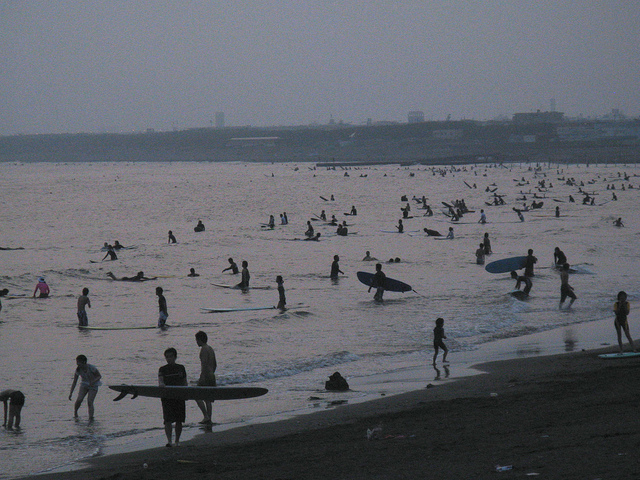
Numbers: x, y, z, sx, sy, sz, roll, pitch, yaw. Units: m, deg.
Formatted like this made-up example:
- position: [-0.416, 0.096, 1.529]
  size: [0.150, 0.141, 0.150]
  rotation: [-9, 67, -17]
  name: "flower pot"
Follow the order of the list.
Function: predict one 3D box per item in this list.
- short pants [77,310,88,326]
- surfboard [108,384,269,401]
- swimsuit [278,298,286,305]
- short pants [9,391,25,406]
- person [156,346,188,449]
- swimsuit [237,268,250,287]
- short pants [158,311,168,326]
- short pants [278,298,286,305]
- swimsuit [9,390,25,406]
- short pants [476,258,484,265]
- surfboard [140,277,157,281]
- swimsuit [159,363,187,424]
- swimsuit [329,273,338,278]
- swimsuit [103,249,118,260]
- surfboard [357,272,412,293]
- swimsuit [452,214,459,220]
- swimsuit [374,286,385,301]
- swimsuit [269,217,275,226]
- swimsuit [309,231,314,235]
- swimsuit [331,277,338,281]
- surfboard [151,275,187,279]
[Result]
- position: [-10.400, 3.410, 62.277]
  size: [0.415, 0.689, 0.366]
  rotation: [-3, -3, -11]
  name: "short pants"
- position: [-4.865, 5.647, 53.032]
  size: [4.666, 0.707, 2.723]
  rotation: [-2, -3, -3]
  name: "surfboard"
- position: [-1.604, 2.796, 64.446]
  size: [0.309, 0.454, 0.286]
  rotation: [2, -3, -36]
  name: "swimsuit"
- position: [-11.425, 5.905, 53.671]
  size: [0.715, 0.754, 0.508]
  rotation: [0, -2, -8]
  name: "short pants"
- position: [-5.436, 5.789, 52.623]
  size: [1.048, 3.617, 1.228]
  rotation: [-4, -2, -6]
  name: "person"
- position: [-3.632, 1.850, 68.664]
  size: [0.528, 0.892, 1.064]
  rotation: [-4, -3, -3]
  name: "swimsuit"
- position: [-6.865, 3.426, 62.120]
  size: [0.318, 0.619, 0.463]
  rotation: [-2, -3, -32]
  name: "short pants"
- position: [-1.658, 2.787, 64.432]
  size: [0.295, 0.288, 0.440]
  rotation: [-3, -3, -7]
  name: "short pants"
- position: [-11.414, 5.917, 53.692]
  size: [0.734, 0.793, 0.511]
  rotation: [2, 3, -7]
  name: "swimsuit"
- position: [8.363, 1.145, 73.055]
  size: [0.345, 0.267, 0.313]
  rotation: [-2, 1, -1]
  name: "short pants"
- position: [-8.547, 1.971, 70.997]
  size: [0.586, 0.161, 0.837]
  rotation: [-4, -3, 22]
  name: "surfboard"
- position: [-5.365, 5.595, 52.217]
  size: [1.325, 1.888, 1.293]
  rotation: [-2, 4, -5]
  name: "swimsuit"
- position: [0.766, 1.814, 70.738]
  size: [0.234, 0.187, 0.202]
  rotation: [-1, 36, 6]
  name: "swimsuit"
- position: [-11.360, 0.842, 77.139]
  size: [0.740, 0.569, 1.402]
  rotation: [-3, -3, -7]
  name: "swimsuit"
- position: [3.234, 2.009, 67.206]
  size: [1.178, 1.065, 2.959]
  rotation: [-2, -3, -30]
  name: "surfboard"
- position: [9.151, -1.423, 94.080]
  size: [0.428, 0.360, 0.862]
  rotation: [-4, -3, 5]
  name: "swimsuit"
- position: [2.851, 2.471, 65.743]
  size: [0.711, 0.605, 0.579]
  rotation: [7, -15, -6]
  name: "swimsuit"
- position: [-3.038, -1.078, 92.025]
  size: [0.229, 0.501, 0.571]
  rotation: [-4, -3, 0]
  name: "swimsuit"
- position: [-0.407, -0.359, 85.088]
  size: [0.091, 0.199, 0.406]
  rotation: [-5, -4, 29]
  name: "swimsuit"
- position: [0.803, 1.947, 70.410]
  size: [0.317, 0.088, 0.484]
  rotation: [-3, -3, 0]
  name: "swimsuit"
- position: [-7.491, 1.886, 71.608]
  size: [1.638, 0.285, 1.189]
  rotation: [-3, -3, -7]
  name: "surfboard"
